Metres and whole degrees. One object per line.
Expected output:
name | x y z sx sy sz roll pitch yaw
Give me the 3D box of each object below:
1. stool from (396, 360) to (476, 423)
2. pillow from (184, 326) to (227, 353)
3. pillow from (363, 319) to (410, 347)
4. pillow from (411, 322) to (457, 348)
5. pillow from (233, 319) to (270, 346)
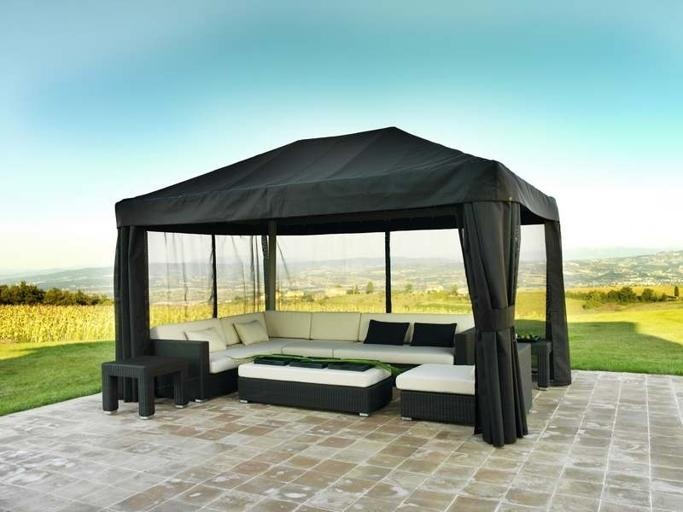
stool | 1.112 1.605 5.701 0.954 0.609 0.620 0 1 23
pillow | -1.972 1.230 7.199 0.405 0.327 0.818 0 1 19
pillow | 0.685 1.194 7.562 0.633 0.345 0.176 1 -28 28
pillow | 1.377 1.176 7.332 0.666 0.319 0.402 0 1 10
pillow | -1.456 1.219 7.916 0.160 0.330 0.579 -32 -13 21
